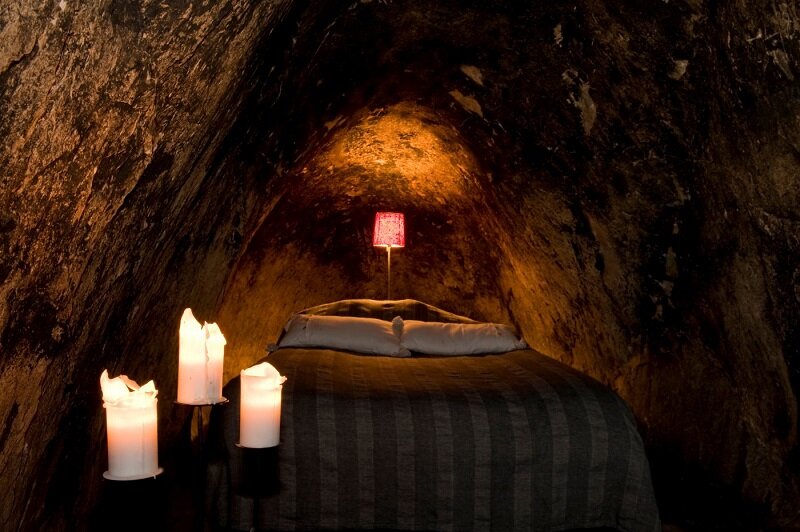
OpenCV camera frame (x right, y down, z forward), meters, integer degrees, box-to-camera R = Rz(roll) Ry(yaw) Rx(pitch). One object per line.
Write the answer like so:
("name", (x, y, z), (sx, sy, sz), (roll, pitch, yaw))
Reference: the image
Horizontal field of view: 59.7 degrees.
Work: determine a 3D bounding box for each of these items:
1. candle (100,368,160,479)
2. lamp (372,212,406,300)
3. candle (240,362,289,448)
("candle", (-1.052, 0.629, 2.725), (0.256, 0.398, 0.181), (7, -17, -22))
("lamp", (-0.094, -0.094, 6.019), (0.294, 0.668, 0.714), (1, -16, -2))
("candle", (-0.574, 0.574, 2.851), (0.172, 0.331, 0.097), (3, -16, -9))
